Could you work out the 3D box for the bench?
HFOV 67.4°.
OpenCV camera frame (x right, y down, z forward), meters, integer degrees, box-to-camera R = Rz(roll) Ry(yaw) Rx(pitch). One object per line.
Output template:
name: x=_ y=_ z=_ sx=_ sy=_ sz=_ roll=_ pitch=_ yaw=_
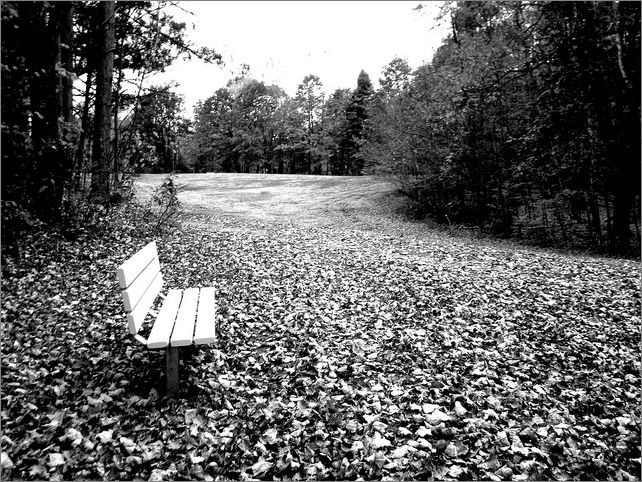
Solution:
bench: x=-2.215 y=1.076 z=6.826 sx=0.731 sy=1.040 sz=1.656 roll=-4 pitch=12 yaw=-11
